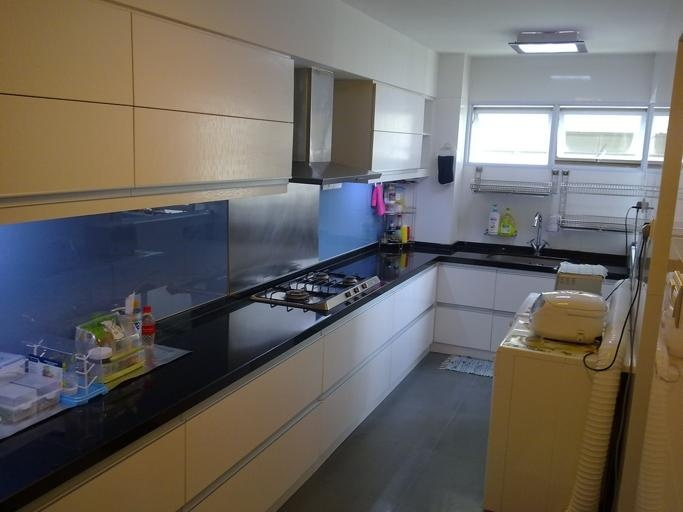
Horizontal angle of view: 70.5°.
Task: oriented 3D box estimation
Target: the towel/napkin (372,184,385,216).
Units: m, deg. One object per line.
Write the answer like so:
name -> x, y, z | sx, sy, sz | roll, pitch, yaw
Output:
towel/napkin -> 0.406, -0.618, 5.235 | 0.114, 0.344, 0.211 | 10, 15, 31

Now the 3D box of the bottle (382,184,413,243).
bottle -> 0.652, -0.473, 5.450 | 0.384, 0.666, 0.321 | 2, 13, 0

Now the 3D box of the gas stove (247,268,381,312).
gas stove -> -0.178, 0.237, 3.738 | 0.646, 0.106, 1.090 | 3, 8, 22

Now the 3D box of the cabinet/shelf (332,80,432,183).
cabinet/shelf -> 0.324, -1.104, 4.209 | 0.341, 0.817, 1.104 | 8, 13, 29
